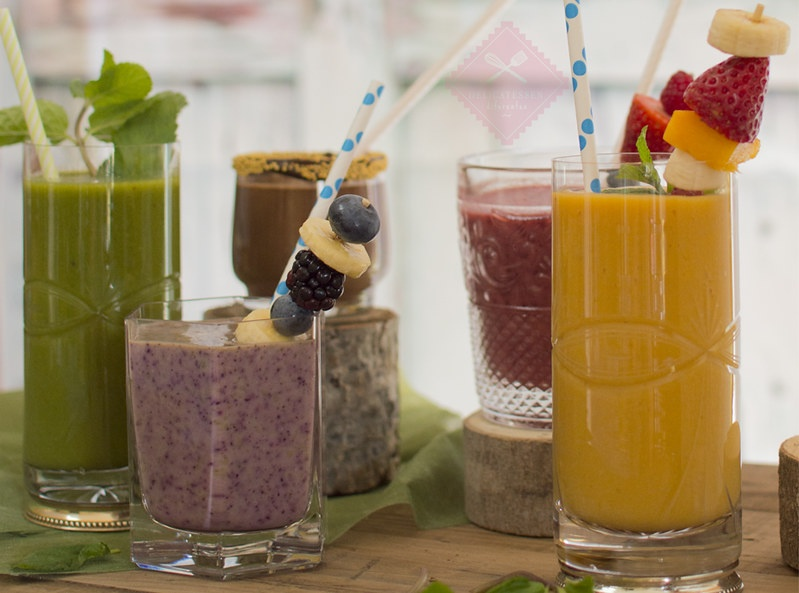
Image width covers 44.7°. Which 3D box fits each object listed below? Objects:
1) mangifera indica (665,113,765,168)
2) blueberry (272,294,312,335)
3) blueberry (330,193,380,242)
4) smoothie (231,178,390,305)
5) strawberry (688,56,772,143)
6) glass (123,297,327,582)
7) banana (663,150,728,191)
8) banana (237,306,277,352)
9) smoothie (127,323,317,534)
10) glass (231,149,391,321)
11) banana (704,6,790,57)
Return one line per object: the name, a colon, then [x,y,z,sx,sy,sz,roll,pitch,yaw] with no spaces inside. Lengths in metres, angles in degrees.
mangifera indica: [0.302,-0.146,0.928,0.062,0.027,0.065,29,17,28]
blueberry: [-0.115,0.022,1.014,0.041,0.046,0.042,-10,-3,-17]
blueberry: [-0.047,-0.077,0.989,0.050,0.051,0.044,-3,8,-14]
smoothie: [-0.119,-0.075,1.325,0.215,0.160,0.206,6,-2,-23]
strawberry: [0.310,-0.187,0.922,0.075,0.082,0.038,1,9,15]
glass: [-0.224,0.143,1.189,0.268,0.357,0.292,1,1,-45]
banana: [0.284,-0.120,0.924,0.063,0.041,0.030,1,8,9]
banana: [-0.153,0.032,1.025,0.044,0.030,0.053,-2,8,-12]
smoothie: [-0.180,0.147,1.109,0.201,0.228,0.226,1,-1,6]
glass: [-0.115,-0.085,1.341,0.212,0.193,0.205,0,2,-3]
banana: [0.324,-0.243,0.900,0.061,0.040,0.058,3,15,-1]
